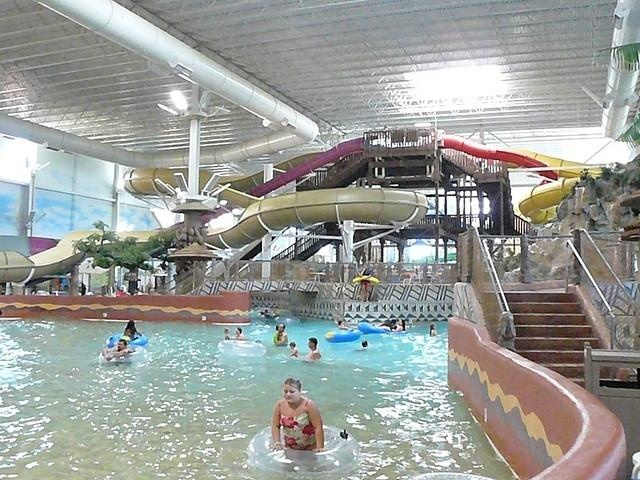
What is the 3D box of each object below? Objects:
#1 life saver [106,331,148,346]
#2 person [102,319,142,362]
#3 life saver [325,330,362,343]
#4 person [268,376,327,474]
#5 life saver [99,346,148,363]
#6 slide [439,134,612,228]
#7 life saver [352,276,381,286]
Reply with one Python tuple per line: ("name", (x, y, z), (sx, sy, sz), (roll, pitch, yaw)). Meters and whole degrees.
("life saver", (-4.950, 2.578, 12.237), (0.975, 0.201, 0.863), (2, 2, 9))
("person", (-4.563, 2.416, 10.974), (0.771, 0.652, 0.691), (3, 0, -22))
("life saver", (0.657, 2.718, 13.562), (0.517, 0.122, 0.508), (-1, -2, 11))
("person", (-0.287, 1.956, 5.047), (0.579, 0.734, 0.575), (8, 2, -14))
("life saver", (-4.437, 2.614, 10.770), (1.006, 0.297, 0.636), (2, -5, -25))
("slide", (9.448, -2.761, 21.250), (7.444, 3.501, 3.110), (3, -7, -36))
("life saver", (1.642, 1.520, 17.870), (0.980, 0.355, 0.511), (-2, -5, 16))
